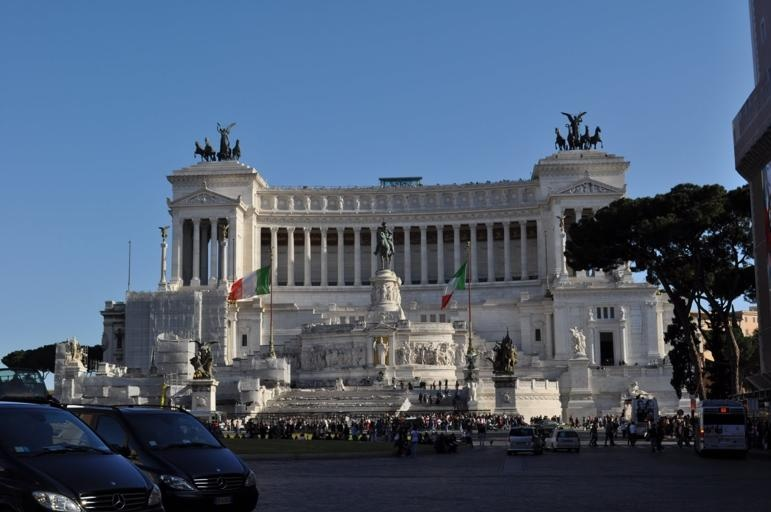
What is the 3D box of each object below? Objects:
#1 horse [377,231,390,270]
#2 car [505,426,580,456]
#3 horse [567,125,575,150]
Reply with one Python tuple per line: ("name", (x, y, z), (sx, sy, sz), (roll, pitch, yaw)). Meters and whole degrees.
("horse", (-0.066, -0.444, 136.664), (1.225, 3.608, 2.821), (-2, -8, 0))
("car", (9.369, 10.992, 95.648), (2.753, 0.966, 2.495), (-1, -19, -2))
("horse", (17.709, -11.067, 153.150), (0.530, 2.196, 0.274), (-6, -9, 24))
